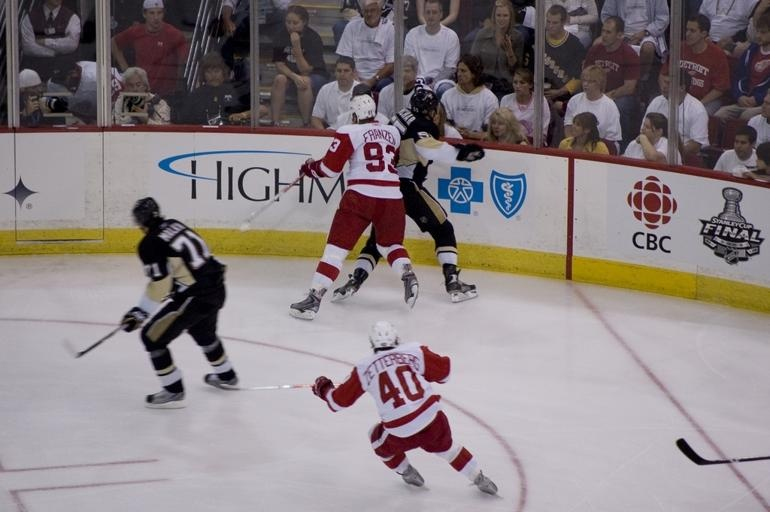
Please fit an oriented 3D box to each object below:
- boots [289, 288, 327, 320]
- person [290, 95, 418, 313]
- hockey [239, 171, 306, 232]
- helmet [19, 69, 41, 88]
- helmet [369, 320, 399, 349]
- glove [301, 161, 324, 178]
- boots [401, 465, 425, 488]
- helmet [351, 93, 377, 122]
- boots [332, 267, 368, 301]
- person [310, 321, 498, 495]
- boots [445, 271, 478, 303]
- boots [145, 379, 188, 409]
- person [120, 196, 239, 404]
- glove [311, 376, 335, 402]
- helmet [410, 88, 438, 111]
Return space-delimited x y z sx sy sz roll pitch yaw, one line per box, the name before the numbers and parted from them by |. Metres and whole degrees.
boots | -0.719 0.399 8.961 0.153 0.314 0.445 22 3 26
person | -0.237 -0.494 9.192 1.057 1.963 0.927 0 15 -5
hockey | -1.175 -0.606 10.573 1.073 0.142 0.150 -30 47 0
helmet | -3.845 -1.936 10.763 0.244 0.162 0.148 -2 25 7
helmet | -0.005 0.510 6.585 0.154 0.187 0.176 -1 15 -3
glove | -0.677 -0.816 9.299 0.184 0.071 0.180 -7 22 -26
boots | 0.183 1.468 6.566 0.115 0.106 0.172 44 -7 3
helmet | -0.205 -1.372 9.145 0.213 0.272 0.263 -9 16 -3
boots | -0.332 0.239 9.495 0.505 0.236 0.172 -24 35 -38
person | 0.127 1.085 6.642 1.212 1.167 0.605 -4 14 9
boots | 0.727 0.282 9.449 0.305 0.272 0.240 2 14 3
boots | -1.623 1.034 7.399 0.269 0.177 0.163 4 3 -3
person | -1.530 0.346 7.346 0.793 1.538 0.426 -1 15 -9
glove | -0.422 0.888 6.726 0.083 0.087 0.226 -16 32 -14
helmet | 0.367 -1.511 9.573 0.240 0.187 0.231 -12 -22 10
